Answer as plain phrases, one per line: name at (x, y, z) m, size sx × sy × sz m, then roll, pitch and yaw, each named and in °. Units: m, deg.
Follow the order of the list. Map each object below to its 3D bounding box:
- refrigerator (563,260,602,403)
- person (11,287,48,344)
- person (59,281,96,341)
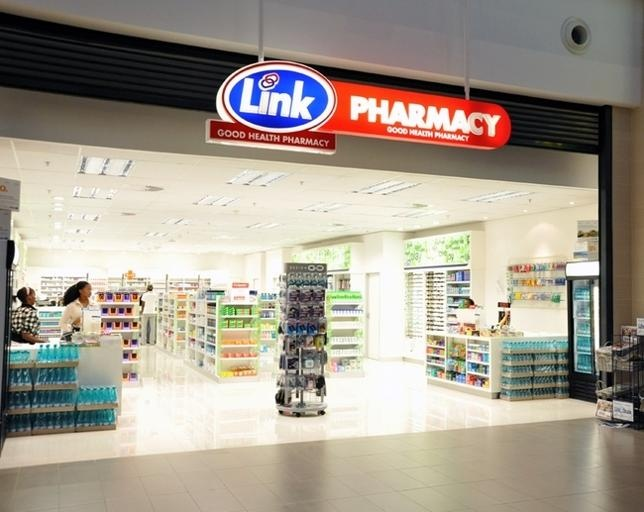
refrigerator at (5.119, 1.456, 9.546) m, size 0.399 × 2.715 × 0.794 m, roll 1°, pitch -4°, yaw -8°
person at (-4.865, 0.990, 8.077) m, size 0.447 × 0.928 × 1.458 m, roll 3°, pitch -5°, yaw -30°
person at (-4.378, 0.932, 8.631) m, size 0.460 × 0.974 × 1.695 m, roll 3°, pitch -4°, yaw -27°
